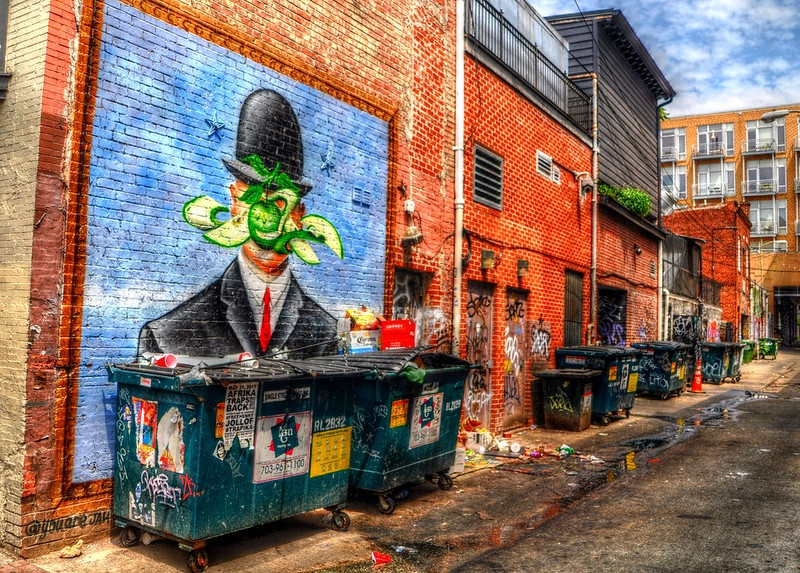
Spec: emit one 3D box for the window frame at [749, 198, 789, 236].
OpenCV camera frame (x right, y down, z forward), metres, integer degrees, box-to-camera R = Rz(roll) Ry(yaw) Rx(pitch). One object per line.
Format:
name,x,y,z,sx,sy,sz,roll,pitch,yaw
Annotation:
window frame,29.507,-5.535,59.091,0.296,3.871,3.803,10,-9,-43

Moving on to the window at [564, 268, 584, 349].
window,3.752,0.473,16.034,0.099,1.742,1.656,1,-2,32

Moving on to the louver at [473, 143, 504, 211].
louver,1.524,-1.891,12.966,0.098,1.229,1.234,-4,-7,35

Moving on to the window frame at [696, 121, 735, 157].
window frame,25.878,-11.933,60.466,2.972,3.022,0.216,-2,-10,28

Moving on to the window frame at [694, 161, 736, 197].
window frame,25.788,-8.775,60.404,2.952,3.012,0.223,-1,-3,25

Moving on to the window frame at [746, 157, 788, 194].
window frame,29.534,-8.984,59.445,2.908,2.958,0.141,-1,-4,33

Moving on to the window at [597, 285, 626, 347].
window,5.305,0.765,18.652,1.403,1.621,0.207,6,-6,-42
